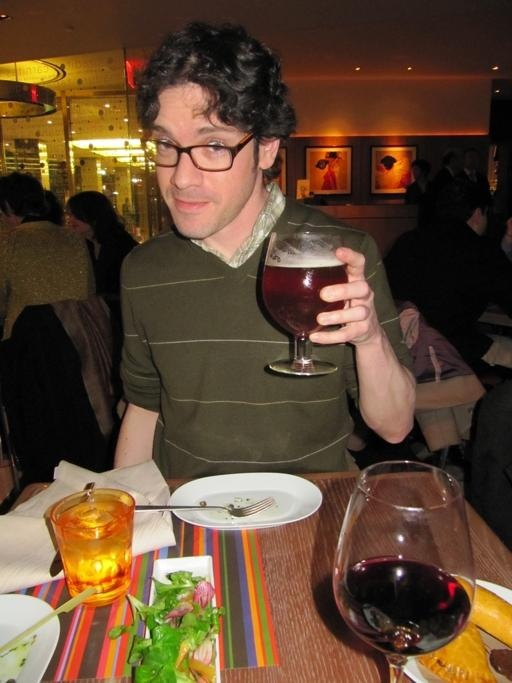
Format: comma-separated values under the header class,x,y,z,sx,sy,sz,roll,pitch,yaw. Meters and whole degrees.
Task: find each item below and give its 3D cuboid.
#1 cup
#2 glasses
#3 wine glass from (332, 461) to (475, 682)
class,x,y,z,sx,sy,sz,roll,pitch,yaw
cup,-0.203,0.262,0.687,0.102,0.114,0.125,2,5,0
glasses,-0.113,-0.409,1.143,0.230,0.085,0.132,-2,16,-4
wine glass,0.139,0.240,0.520,0.123,0.231,0.166,1,16,6
